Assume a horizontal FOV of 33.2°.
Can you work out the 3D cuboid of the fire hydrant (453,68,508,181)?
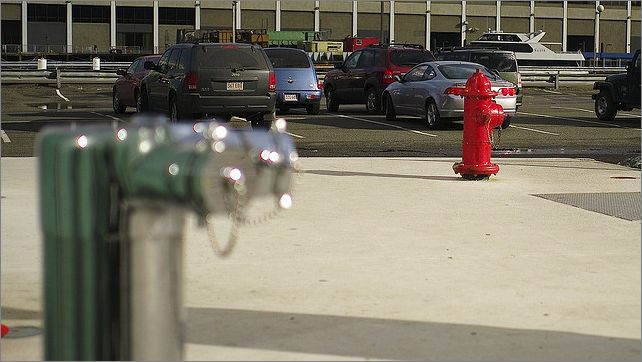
[{"bbox_3d":[2.921,-1.074,19.699,0.848,1.909,0.337,2,9,7],"label":"fire hydrant"}]

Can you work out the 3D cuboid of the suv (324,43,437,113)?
[{"bbox_3d":[1.618,-3.151,32.008,1.901,1.361,3.135,-6,15,-26],"label":"suv"}]

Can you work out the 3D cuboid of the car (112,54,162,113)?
[{"bbox_3d":[-5.217,-2.743,30.583,1.314,0.943,2.148,-3,12,-18],"label":"car"}]

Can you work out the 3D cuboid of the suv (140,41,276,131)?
[{"bbox_3d":[-2.855,-2.405,26.245,1.969,2.002,3.268,-7,12,-42],"label":"suv"}]
